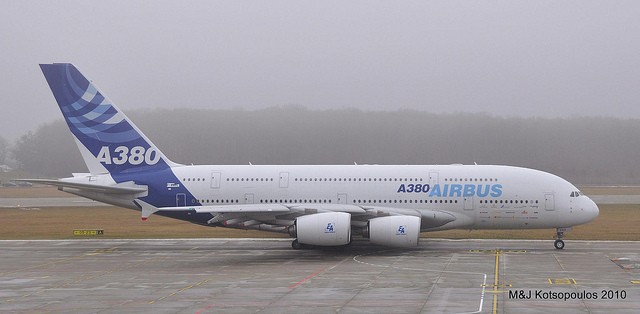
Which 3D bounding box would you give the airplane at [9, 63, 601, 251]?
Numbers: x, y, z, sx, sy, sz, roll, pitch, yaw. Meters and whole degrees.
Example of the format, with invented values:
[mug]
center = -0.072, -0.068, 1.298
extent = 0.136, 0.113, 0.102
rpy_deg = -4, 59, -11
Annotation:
[airplane]
center = -1.216, -0.364, 91.984
extent = 63.138, 21.022, 29.979
rpy_deg = -3, 1, -4
